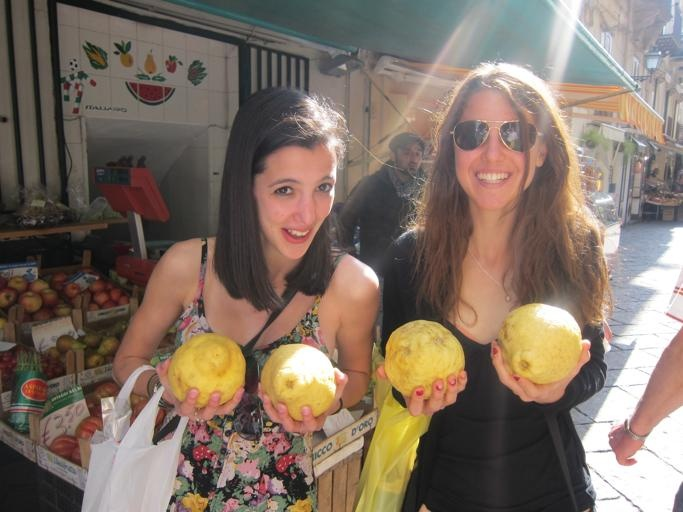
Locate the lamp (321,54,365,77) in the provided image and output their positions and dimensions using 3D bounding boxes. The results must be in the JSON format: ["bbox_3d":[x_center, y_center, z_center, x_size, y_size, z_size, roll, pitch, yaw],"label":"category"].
[{"bbox_3d":[0.010,-3.164,8.059,0.582,0.147,0.546,0,3,43],"label":"lamp"}]

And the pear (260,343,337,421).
[{"bbox_3d":[-0.168,0.568,2.259,0.332,0.275,0.192,24,0,18],"label":"pear"}]

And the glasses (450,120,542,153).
[{"bbox_3d":[0.786,-0.625,2.528,0.369,0.158,0.111,3,13,7],"label":"glasses"}]

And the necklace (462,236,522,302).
[{"bbox_3d":[0.810,0.088,2.629,0.182,0.342,0.081,-26,-29,12],"label":"necklace"}]

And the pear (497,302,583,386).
[{"bbox_3d":[0.966,0.398,2.313,0.289,0.300,0.376,39,27,22],"label":"pear"}]

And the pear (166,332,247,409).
[{"bbox_3d":[-0.598,0.517,2.279,0.310,0.323,0.267,-7,30,13],"label":"pear"}]

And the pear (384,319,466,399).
[{"bbox_3d":[0.390,0.476,2.265,0.335,0.350,0.375,0,8,12],"label":"pear"}]
